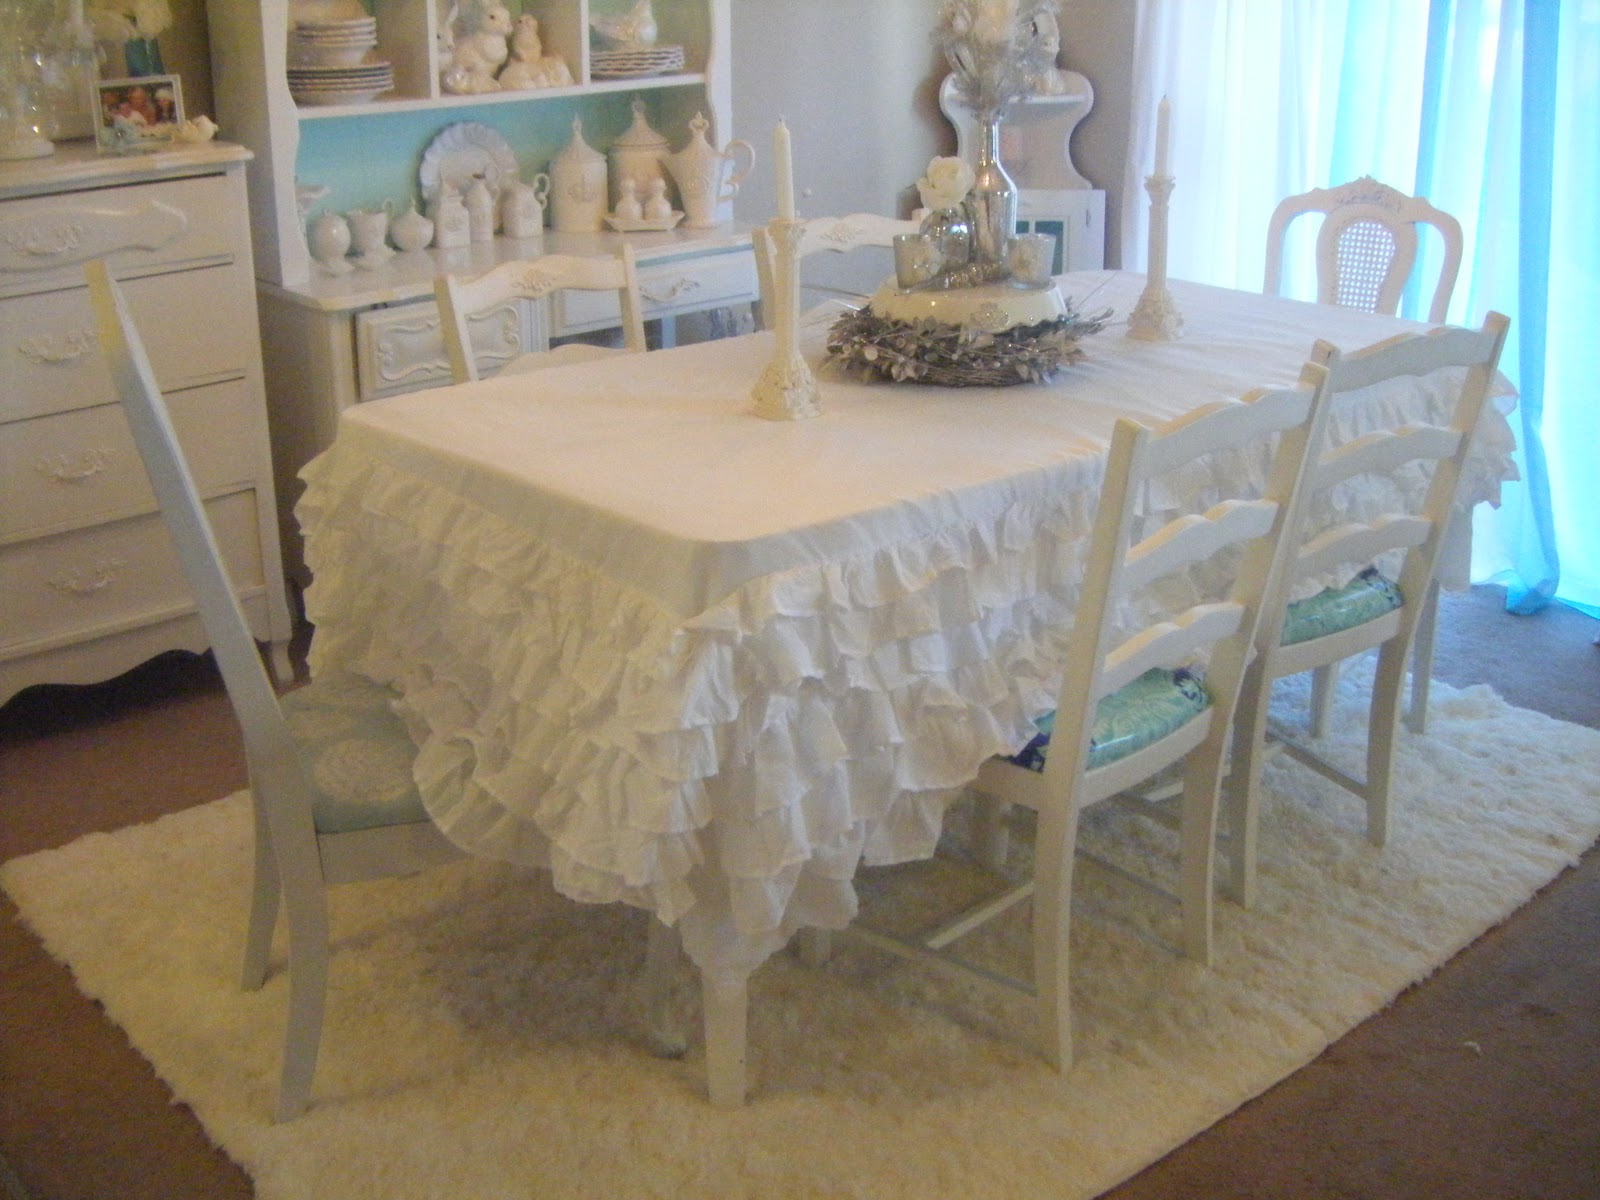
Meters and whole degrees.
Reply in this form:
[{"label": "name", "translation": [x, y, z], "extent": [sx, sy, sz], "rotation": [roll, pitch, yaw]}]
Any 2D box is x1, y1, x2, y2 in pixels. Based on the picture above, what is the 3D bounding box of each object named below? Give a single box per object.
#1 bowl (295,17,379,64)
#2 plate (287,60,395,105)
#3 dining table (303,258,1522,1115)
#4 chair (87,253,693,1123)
[{"label": "bowl", "translation": [-1.202, -1.414, 3.161], "extent": [0.161, 0.094, 0.166], "rotation": [-4, 26, 2]}, {"label": "plate", "translation": [-1.175, -1.320, 3.146], "extent": [0.250, 0.093, 0.137], "rotation": [-10, 26, -21]}, {"label": "dining table", "translation": [0.158, -0.148, 2.236], "extent": [1.056, 0.750, 1.758], "rotation": [22, 33, 40]}, {"label": "chair", "translation": [-0.749, 0.138, 1.845], "extent": [0.310, 1.242, 0.395], "rotation": [-14, 27, -28]}]
